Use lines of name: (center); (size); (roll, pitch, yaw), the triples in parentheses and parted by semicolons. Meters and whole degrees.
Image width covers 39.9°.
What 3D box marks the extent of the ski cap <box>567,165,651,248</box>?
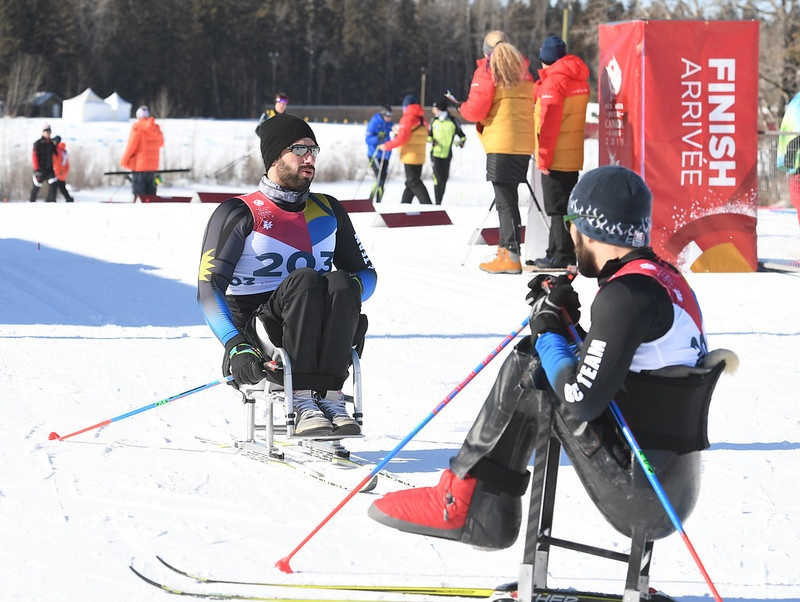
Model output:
ski cap: (0.938, -0.417, 4.954); (0.375, 0.357, 0.173); (-2, 12, 11)

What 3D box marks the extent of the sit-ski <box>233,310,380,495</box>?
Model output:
sit-ski: (-0.609, 0.703, 6.266); (0.425, 1.033, 1.288); (1, -3, -29)

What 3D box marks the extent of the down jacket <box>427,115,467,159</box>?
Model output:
down jacket: (0.610, -2.317, 15.439); (0.592, 0.682, 0.392); (5, 9, 12)

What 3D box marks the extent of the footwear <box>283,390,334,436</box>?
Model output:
footwear: (-0.505, 0.644, 6.107); (0.119, 0.268, 0.336); (4, -10, -32)

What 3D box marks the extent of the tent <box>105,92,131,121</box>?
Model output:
tent: (-8.284, -5.729, 32.652); (0.864, 0.973, 0.884); (-8, 18, -33)

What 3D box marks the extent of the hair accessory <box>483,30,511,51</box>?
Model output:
hair accessory: (0.871, -2.364, 10.053); (0.158, 0.194, 0.220); (2, 17, 22)

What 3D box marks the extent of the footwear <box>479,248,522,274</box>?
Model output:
footwear: (0.936, -0.370, 10.440); (0.408, 0.327, 0.172); (9, 12, 25)

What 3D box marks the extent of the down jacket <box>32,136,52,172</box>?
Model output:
down jacket: (-5.446, -2.224, 16.827); (0.346, 0.547, 0.392); (-8, 13, -18)

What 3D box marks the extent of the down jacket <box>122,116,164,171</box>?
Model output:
down jacket: (-3.814, -2.260, 16.266); (0.553, 0.814, 0.639); (6, 16, 38)

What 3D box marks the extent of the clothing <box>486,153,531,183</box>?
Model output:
clothing: (0.992, -1.194, 10.037); (0.392, 0.331, 0.241); (0, 2, -22)

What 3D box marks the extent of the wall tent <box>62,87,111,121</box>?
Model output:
wall tent: (-8.847, -5.386, 31.003); (1.027, 0.746, 1.085); (0, 9, -8)

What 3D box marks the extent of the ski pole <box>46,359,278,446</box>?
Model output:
ski pole: (-1.503, 0.660, 6.525); (1.600, 0.225, 0.250); (-20, -44, 31)

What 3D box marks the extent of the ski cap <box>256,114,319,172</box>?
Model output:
ski cap: (-0.681, -0.959, 6.503); (0.303, 0.324, 0.303); (-17, 2, 13)

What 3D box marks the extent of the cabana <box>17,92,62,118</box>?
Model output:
cabana: (-10.175, -5.598, 31.645); (0.632, 0.750, 2.242); (-5, 14, -4)

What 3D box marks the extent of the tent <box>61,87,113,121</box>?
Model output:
tent: (-8.929, -5.385, 31.052); (1.111, 0.783, 1.081); (-3, 5, -37)

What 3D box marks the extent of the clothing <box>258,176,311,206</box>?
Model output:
clothing: (-0.702, -0.634, 6.472); (0.198, 0.096, 0.176); (27, 19, 33)

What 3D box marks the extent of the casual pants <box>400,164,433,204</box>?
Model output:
casual pants: (0.212, -1.641, 15.674); (0.498, 0.819, 0.241); (5, 32, 14)
